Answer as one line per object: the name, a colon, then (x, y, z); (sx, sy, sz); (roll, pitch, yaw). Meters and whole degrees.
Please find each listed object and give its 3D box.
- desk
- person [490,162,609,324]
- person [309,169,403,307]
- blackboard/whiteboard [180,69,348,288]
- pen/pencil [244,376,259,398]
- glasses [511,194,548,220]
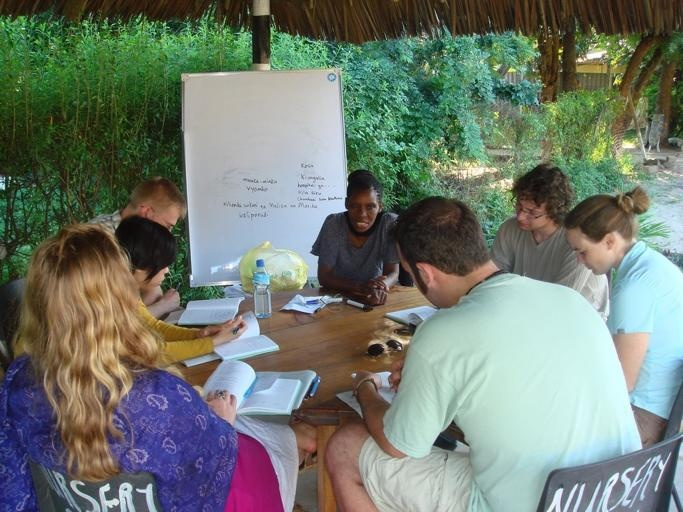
desk: (0.005, 0.865, 2.583); (0.828, 0.336, 1.292); (2, 16, 6)
person: (1.190, -0.060, 3.164); (0.539, 0.933, 0.637); (-21, 25, -40)
person: (0.136, -0.092, 3.470); (0.590, 0.883, 0.872); (-1, 23, -9)
blackboard/whiteboard: (-0.633, -0.658, 4.197); (1.540, 2.187, 0.121); (-2, 6, -4)
pen/pencil: (-0.365, 0.538, 2.126); (0.014, 0.011, 0.075); (7, 31, 21)
glasses: (1.105, -0.273, 3.046); (0.122, 0.141, 0.046); (23, 39, 25)
